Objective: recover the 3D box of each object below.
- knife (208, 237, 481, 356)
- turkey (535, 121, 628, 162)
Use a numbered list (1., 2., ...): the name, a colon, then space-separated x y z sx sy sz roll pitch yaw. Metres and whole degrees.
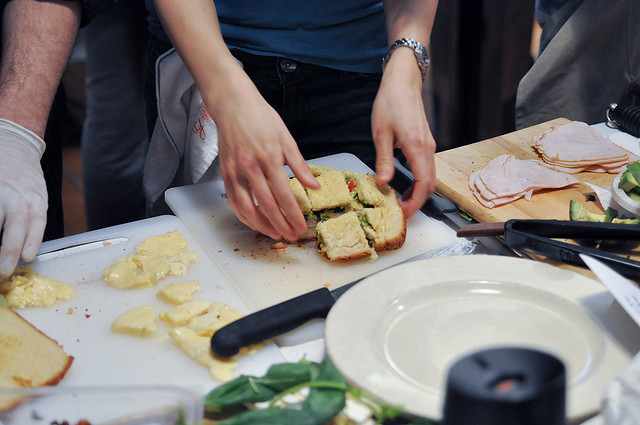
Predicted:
1. knife: 0.060 0.211 1.218 0.589 0.033 0.080 -20 30 -25
2. turkey: 0.930 -0.269 1.848 0.290 0.154 0.235 -8 18 -19
